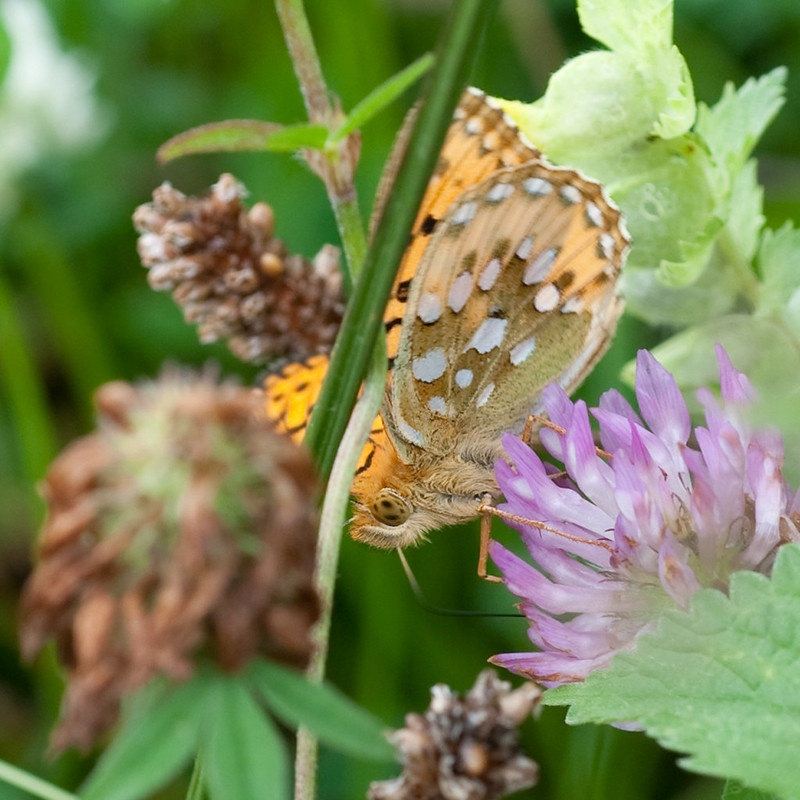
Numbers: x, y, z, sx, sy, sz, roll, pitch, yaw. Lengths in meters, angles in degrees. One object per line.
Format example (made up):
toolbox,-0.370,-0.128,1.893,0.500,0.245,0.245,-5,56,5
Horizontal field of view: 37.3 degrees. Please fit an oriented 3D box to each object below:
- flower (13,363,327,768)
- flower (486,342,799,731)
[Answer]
flower,-0.124,0.107,0.766,0.219,0.213,0.115,-38,-15,-20
flower,0.195,0.135,0.993,0.301,0.145,0.254,-38,25,22
